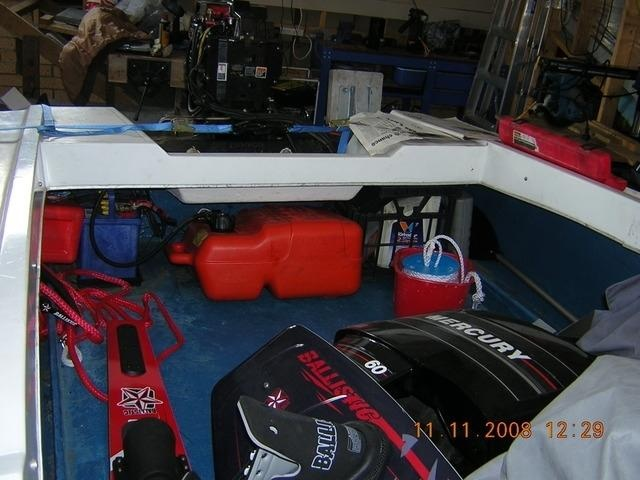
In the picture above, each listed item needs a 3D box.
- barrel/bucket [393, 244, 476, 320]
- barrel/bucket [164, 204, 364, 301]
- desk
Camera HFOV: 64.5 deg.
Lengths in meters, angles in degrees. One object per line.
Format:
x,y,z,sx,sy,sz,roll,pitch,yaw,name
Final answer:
0.482,0.193,2.170,0.344,0.244,0.243,0,38,0,barrel/bucket
-0.178,0.086,2.326,0.634,0.287,0.459,0,10,-14,barrel/bucket
0.891,-1.637,4.537,1.221,0.477,0.971,3,48,23,desk
